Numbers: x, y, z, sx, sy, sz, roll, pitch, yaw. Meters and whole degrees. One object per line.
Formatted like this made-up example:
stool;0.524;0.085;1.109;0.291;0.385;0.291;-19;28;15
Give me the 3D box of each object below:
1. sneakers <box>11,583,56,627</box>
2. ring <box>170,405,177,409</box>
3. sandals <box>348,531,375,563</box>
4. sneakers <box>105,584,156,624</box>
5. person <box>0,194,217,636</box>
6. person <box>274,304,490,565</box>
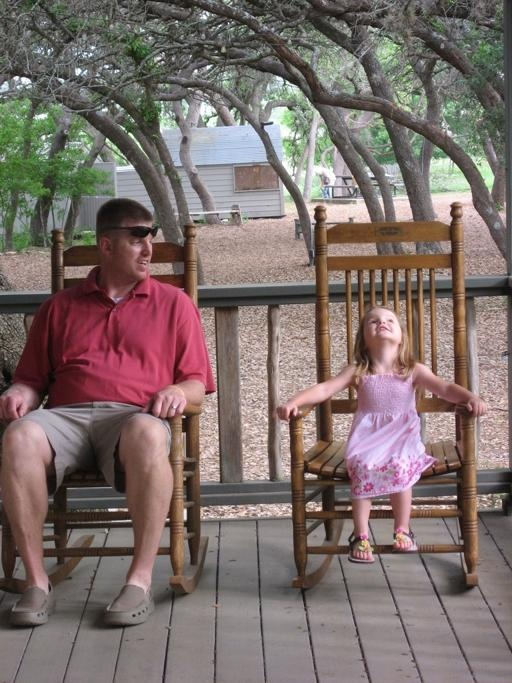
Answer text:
sneakers;-0.580;0.691;1.897;0.074;0.053;0.140;-1;-4;3
ring;-0.223;0.177;1.967;0.010;0.011;0.004;-3;-15;-4
sandals;0.290;0.580;2.013;0.065;0.115;0.117;-1;6;6
sneakers;-0.340;0.689;1.912;0.076;0.057;0.149;0;-6;6
person;-0.438;0.160;2.125;0.621;1.175;0.641;-2;7;-3
person;0.325;0.244;2.115;0.561;0.673;0.358;-4;7;-19
